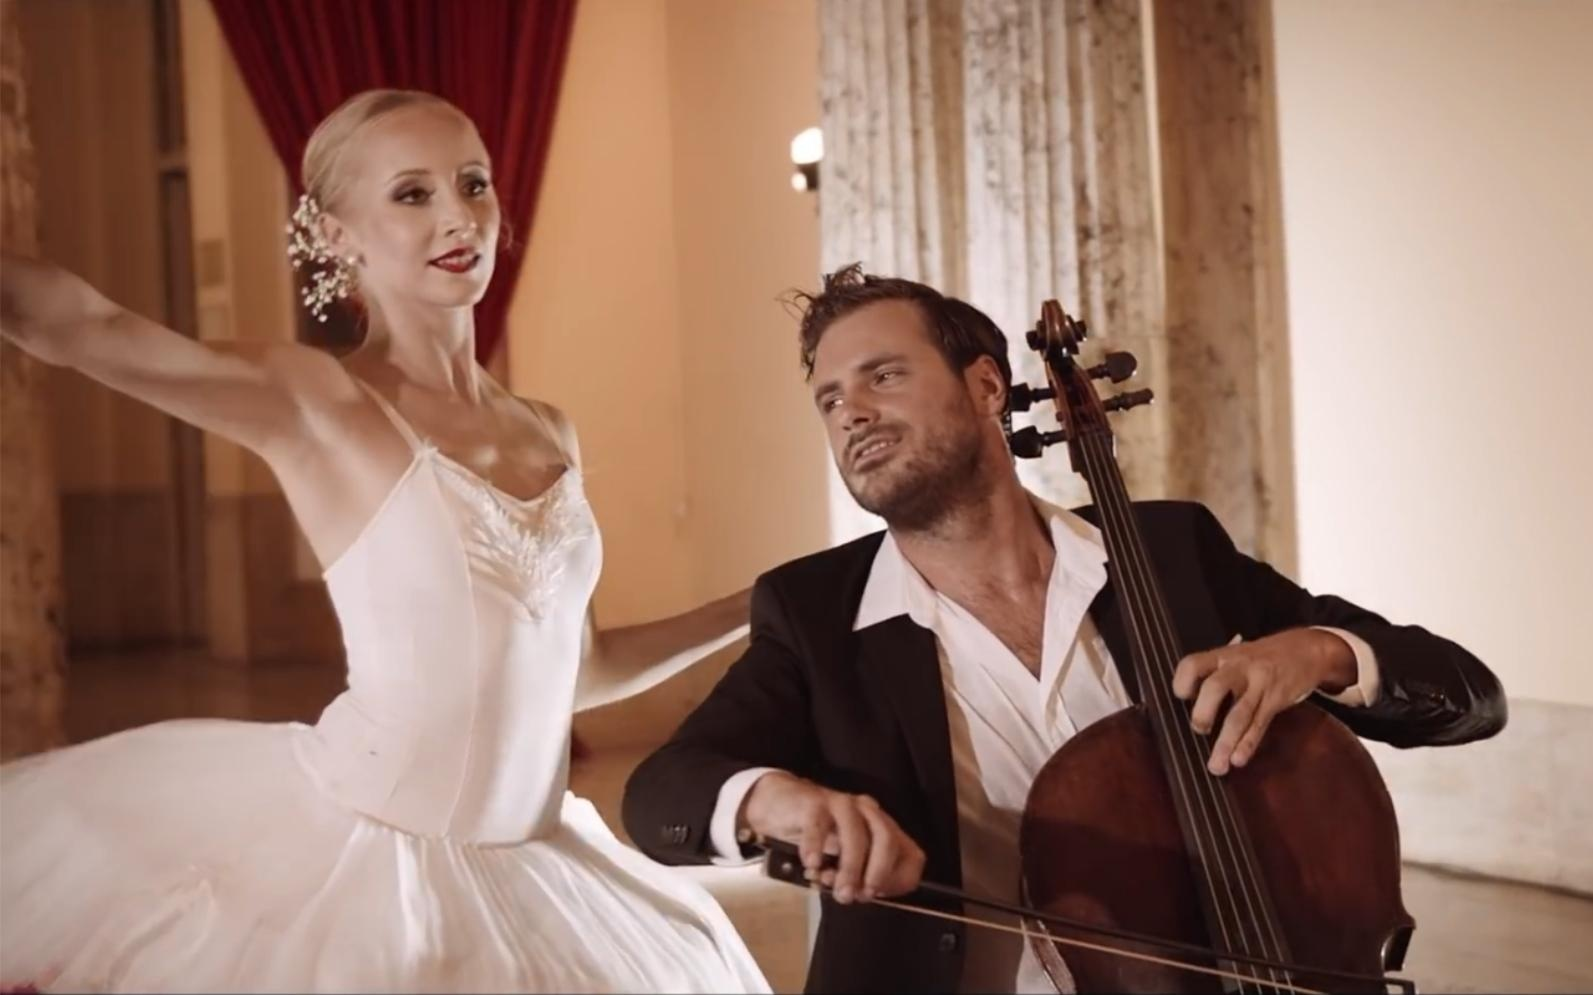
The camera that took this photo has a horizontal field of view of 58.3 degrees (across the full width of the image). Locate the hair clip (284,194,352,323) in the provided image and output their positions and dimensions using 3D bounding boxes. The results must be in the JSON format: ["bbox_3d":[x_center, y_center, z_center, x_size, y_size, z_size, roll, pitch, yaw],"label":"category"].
[{"bbox_3d":[-0.920,-0.457,2.730,0.131,0.216,0.057,-29,11,-31],"label":"hair clip"}]

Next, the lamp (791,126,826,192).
[{"bbox_3d":[0.015,-0.676,2.850,0.091,0.117,0.027,3,3,-11],"label":"lamp"}]

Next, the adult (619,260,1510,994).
[{"bbox_3d":[0.297,0.282,2.727,1.377,1.459,0.484,-15,-9,-18],"label":"adult"}]

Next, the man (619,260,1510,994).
[{"bbox_3d":[0.304,0.305,2.724,1.377,1.459,0.484,-15,-9,-18],"label":"man"}]

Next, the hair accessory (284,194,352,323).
[{"bbox_3d":[-0.917,-0.457,2.728,0.131,0.216,0.057,-29,11,-31],"label":"hair accessory"}]

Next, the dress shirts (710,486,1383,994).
[{"bbox_3d":[0.428,0.352,2.737,0.697,1.305,0.344,-13,-3,-18],"label":"dress shirts"}]
